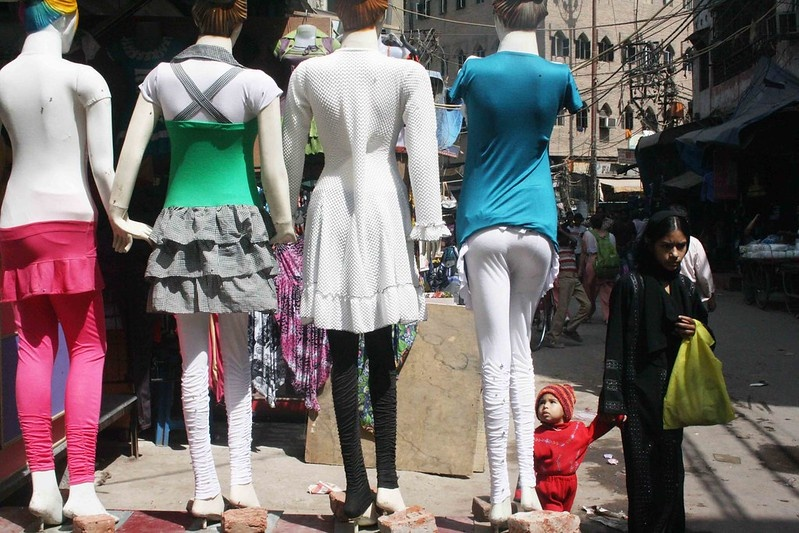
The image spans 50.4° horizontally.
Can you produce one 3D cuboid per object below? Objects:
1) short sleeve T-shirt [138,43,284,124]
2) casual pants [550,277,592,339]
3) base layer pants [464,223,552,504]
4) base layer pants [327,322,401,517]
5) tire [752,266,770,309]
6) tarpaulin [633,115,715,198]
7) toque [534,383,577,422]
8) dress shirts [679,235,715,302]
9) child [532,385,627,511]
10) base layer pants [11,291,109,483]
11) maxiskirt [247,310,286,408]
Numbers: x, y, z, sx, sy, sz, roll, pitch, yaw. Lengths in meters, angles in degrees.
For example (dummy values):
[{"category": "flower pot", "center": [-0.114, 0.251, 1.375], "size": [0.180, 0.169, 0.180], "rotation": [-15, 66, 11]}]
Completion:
[{"category": "short sleeve T-shirt", "center": [-1.280, -1.186, 5.735], "size": [0.936, 0.570, 0.437], "rotation": [4, 2, -4]}, {"category": "casual pants", "center": [2.566, 0.618, 12.660], "size": [0.579, 1.092, 0.393], "rotation": [-2, -20, 16]}, {"category": "base layer pants", "center": [0.787, 0.635, 5.870], "size": [0.577, 1.816, 0.447], "rotation": [-2, 5, -31]}, {"category": "base layer pants", "center": [-0.231, 0.994, 5.635], "size": [0.478, 1.202, 0.391], "rotation": [0, 4, -10]}, {"category": "tire", "center": [6.649, 0.345, 15.406], "size": [0.193, 0.787, 0.775], "rotation": [1, 4, 15]}, {"category": "tarpaulin", "center": [7.283, -2.977, 23.561], "size": [1.720, 1.013, 1.742], "rotation": [19, 6, 27]}, {"category": "toque", "center": [1.180, 0.987, 6.341], "size": [0.238, 0.302, 0.310], "rotation": [0, -16, 38]}, {"category": "dress shirts", "center": [3.245, 0.049, 9.012], "size": [0.202, 0.586, 0.406], "rotation": [-9, 15, 0]}, {"category": "child", "center": [1.390, 1.420, 6.504], "size": [1.029, 1.113, 0.295], "rotation": [0, -15, -4]}, {"category": "base layer pants", "center": [-2.276, 0.585, 5.666], "size": [0.525, 1.974, 0.471], "rotation": [3, 15, -15]}, {"category": "maxiskirt", "center": [-1.224, 0.803, 7.845], "size": [0.337, 1.174, 0.203], "rotation": [-4, 33, -13]}]
